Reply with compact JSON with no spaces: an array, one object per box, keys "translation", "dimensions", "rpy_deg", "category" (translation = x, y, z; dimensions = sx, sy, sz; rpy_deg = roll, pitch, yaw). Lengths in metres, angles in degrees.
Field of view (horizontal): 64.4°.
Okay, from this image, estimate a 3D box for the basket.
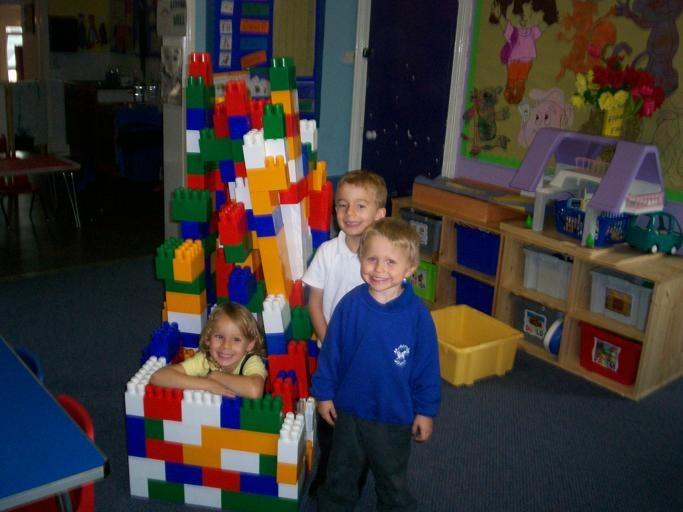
[{"translation":[1.484,-0.169,3.205],"dimensions":[0.236,0.191,0.364],"rpy_deg":[-13,26,-27],"category":"basket"}]
